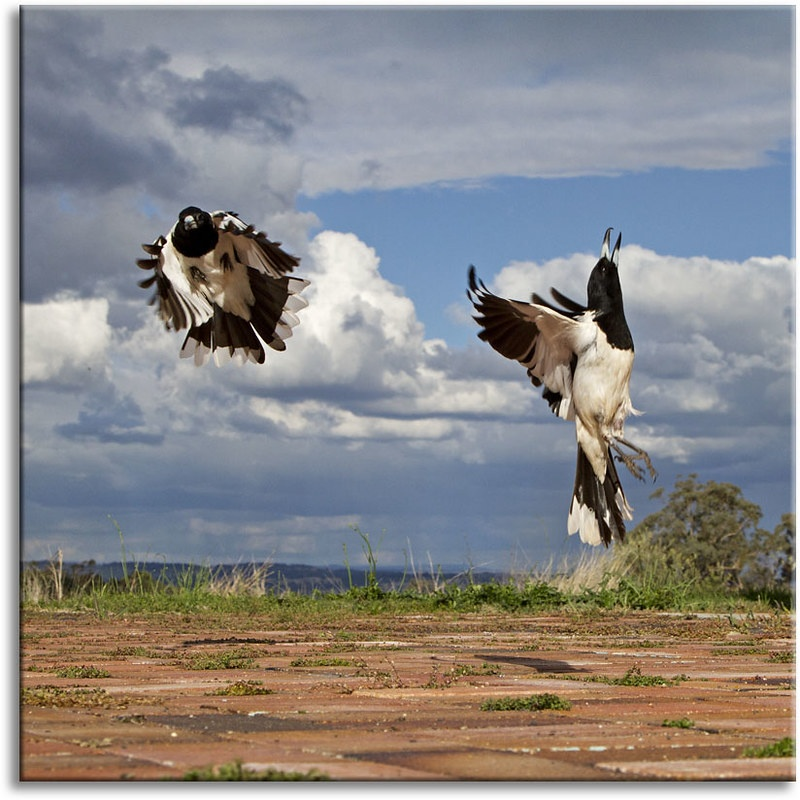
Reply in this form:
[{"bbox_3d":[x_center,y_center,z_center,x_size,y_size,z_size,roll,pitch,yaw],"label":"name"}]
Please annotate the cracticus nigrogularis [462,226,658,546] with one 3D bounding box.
[{"bbox_3d":[0.927,-0.060,8.701,0.816,1.785,0.878,0,-1,3],"label":"cracticus nigrogularis"}]
